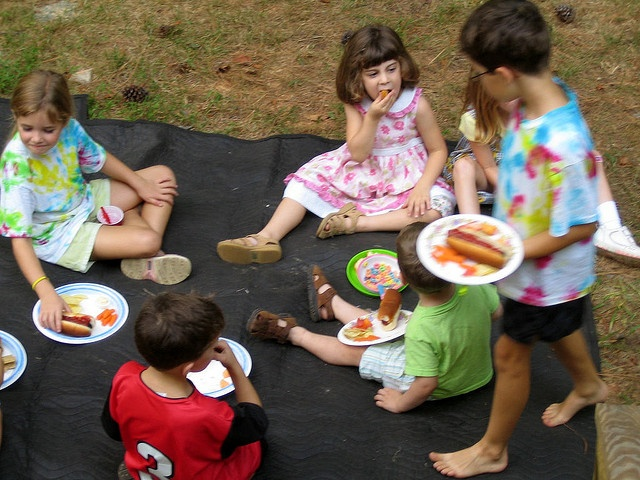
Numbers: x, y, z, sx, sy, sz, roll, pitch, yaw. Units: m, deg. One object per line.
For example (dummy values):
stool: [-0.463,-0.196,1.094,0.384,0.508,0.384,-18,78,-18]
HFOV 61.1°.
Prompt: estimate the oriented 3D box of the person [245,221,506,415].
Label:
person: [0.168,0.227,3.026,1.603,0.865,0.763,13,42,32]

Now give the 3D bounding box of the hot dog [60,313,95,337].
hot dog: [-1.327,0.464,2.969,0.155,0.109,0.119,-1,42,-16]

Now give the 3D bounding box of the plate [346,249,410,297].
plate: [0.347,0.196,3.342,0.350,0.059,0.292,-22,51,-14]

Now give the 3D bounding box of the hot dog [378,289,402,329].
hot dog: [0.368,0.354,2.883,0.116,0.075,0.208,0,40,27]

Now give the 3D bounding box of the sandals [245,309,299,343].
sandals: [-0.272,0.477,2.974,0.312,0.135,0.104,7,8,-4]

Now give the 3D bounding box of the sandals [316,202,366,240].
sandals: [0.142,-0.124,3.633,0.310,0.147,0.118,-30,53,-21]

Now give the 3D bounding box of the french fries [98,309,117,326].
french fries: [-1.206,0.441,3.092,0.103,0.025,0.083,13,44,11]

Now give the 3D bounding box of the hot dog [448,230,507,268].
hot dog: [0.592,0.036,2.126,0.224,0.091,0.072,31,9,26]

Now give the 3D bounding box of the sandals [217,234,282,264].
sandals: [-0.455,0.060,3.451,0.456,0.137,0.169,3,38,-8]

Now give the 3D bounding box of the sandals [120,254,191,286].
sandals: [-0.970,0.167,3.358,0.498,0.138,0.184,8,8,8]

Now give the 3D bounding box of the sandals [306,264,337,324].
sandals: [-0.018,0.306,3.167,0.153,0.129,0.289,-15,66,27]
